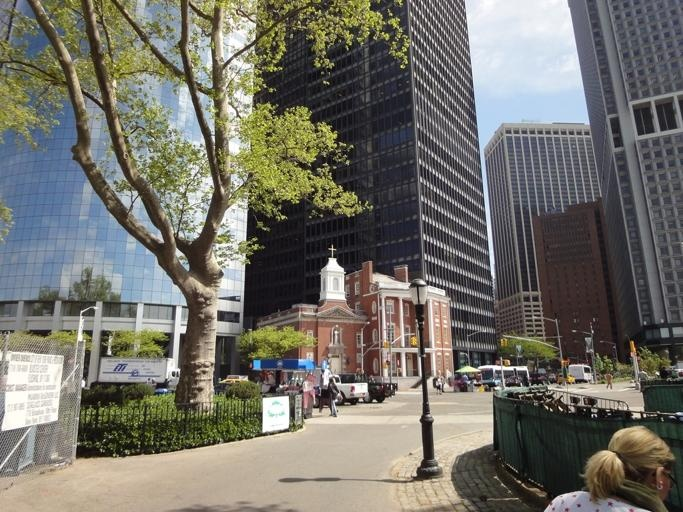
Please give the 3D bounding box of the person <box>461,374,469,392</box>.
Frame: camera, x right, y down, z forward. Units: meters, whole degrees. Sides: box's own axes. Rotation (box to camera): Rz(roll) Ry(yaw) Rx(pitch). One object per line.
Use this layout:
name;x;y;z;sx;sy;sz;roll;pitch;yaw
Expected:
person;12.302;12.823;47.265;0.586;1.489;1.239;-3;-15;7
